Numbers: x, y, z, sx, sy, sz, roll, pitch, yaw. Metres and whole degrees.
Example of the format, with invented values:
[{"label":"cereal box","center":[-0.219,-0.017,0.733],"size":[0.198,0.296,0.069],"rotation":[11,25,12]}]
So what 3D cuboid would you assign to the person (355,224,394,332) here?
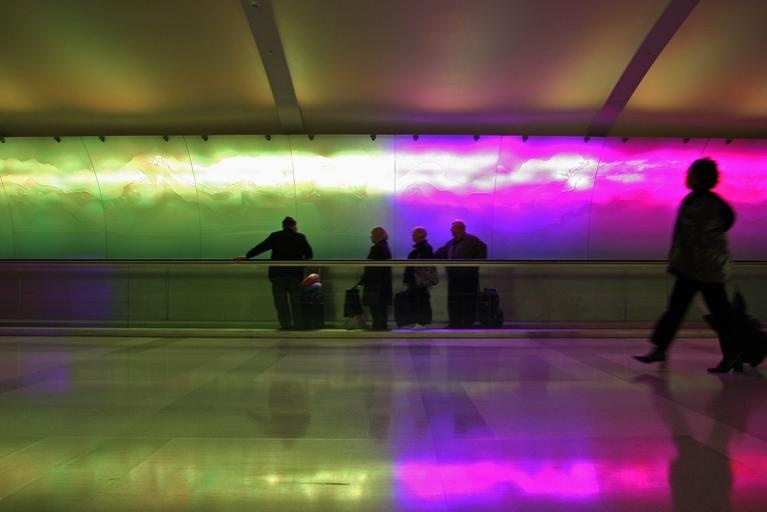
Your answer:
[{"label":"person","center":[-0.139,0.359,10.843],"size":[0.595,1.706,1.489],"rotation":[-2,12,0]}]

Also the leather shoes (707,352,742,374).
[{"label":"leather shoes","center":[4.735,1.536,8.212],"size":[0.641,0.280,0.204],"rotation":[1,-2,4]}]

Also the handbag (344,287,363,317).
[{"label":"handbag","center":[-0.536,0.846,10.360],"size":[0.525,0.608,0.381],"rotation":[0,-16,-1]}]

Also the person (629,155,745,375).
[{"label":"person","center":[4.527,0.128,8.221],"size":[1.221,3.002,0.871],"rotation":[2,13,16]}]

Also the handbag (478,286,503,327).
[{"label":"handbag","center":[1.908,0.920,10.226],"size":[0.424,0.661,0.236],"rotation":[0,12,8]}]
